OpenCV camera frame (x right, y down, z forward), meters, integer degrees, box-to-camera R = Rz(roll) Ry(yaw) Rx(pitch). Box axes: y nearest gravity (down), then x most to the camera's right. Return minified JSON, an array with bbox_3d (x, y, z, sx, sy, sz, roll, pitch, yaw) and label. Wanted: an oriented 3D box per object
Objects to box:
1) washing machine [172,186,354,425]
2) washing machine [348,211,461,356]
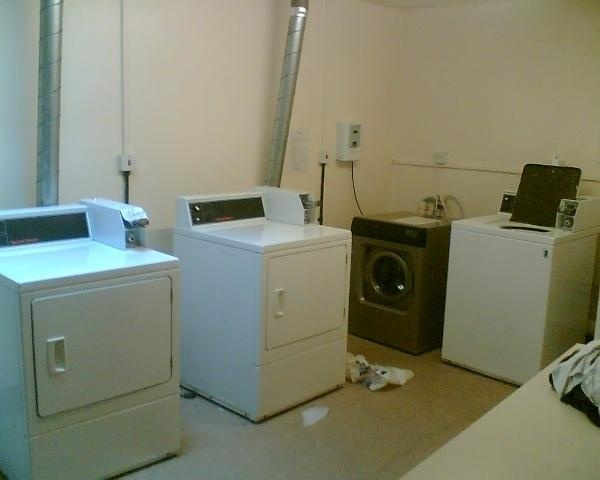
[{"bbox_3d":[-0.274,0.275,3.188,0.957,1.477,0.917,-7,14,-37],"label":"washing machine"},{"bbox_3d":[0.756,0.314,3.932,0.726,1.082,0.814,11,12,43],"label":"washing machine"}]
